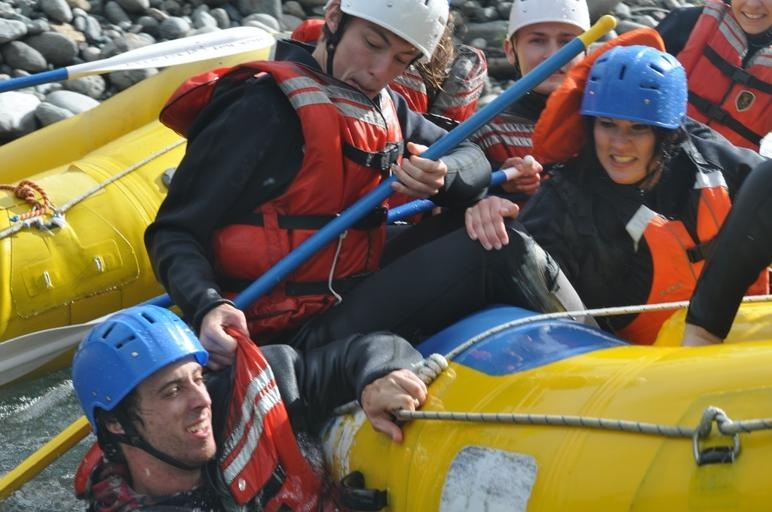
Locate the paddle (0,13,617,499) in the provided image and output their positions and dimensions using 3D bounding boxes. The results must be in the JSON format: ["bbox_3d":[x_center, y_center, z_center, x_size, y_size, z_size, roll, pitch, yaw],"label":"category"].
[{"bbox_3d":[-0.246,0.032,3.841,2.566,0.362,0.525,-34,-3,-4],"label":"paddle"}]

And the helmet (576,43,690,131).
[{"bbox_3d":[0.999,-0.657,4.211,0.500,0.300,0.380,4,11,-41],"label":"helmet"}]

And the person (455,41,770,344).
[{"bbox_3d":[0.783,-0.209,4.008,1.054,1.219,0.738,-14,-4,8],"label":"person"}]

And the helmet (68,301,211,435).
[{"bbox_3d":[-0.789,0.350,3.458,0.423,0.420,0.331,12,21,35],"label":"helmet"}]

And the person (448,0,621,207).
[{"bbox_3d":[0.613,-0.659,4.860,0.632,0.857,0.307,-3,30,-41],"label":"person"}]
